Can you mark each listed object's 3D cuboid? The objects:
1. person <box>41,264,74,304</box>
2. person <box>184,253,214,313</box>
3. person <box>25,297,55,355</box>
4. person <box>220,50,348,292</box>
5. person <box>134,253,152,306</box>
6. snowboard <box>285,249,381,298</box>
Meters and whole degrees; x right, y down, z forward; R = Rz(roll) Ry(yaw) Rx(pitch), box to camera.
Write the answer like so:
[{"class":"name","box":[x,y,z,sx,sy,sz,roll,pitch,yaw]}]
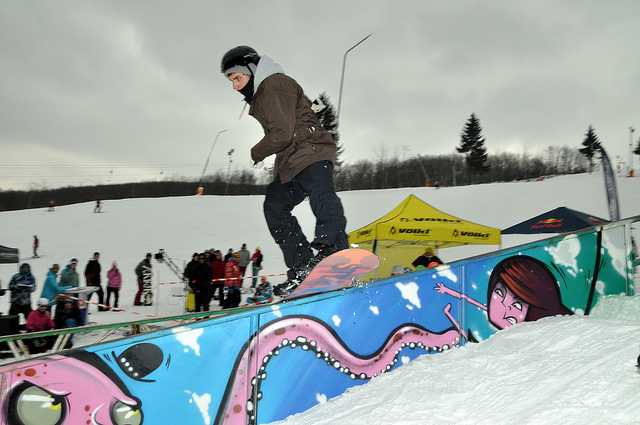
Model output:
[{"class":"person","box":[-5.132,1.416,9.565,0.544,0.722,1.566,-1,-5,-27]},{"class":"person","box":[-2.790,1.646,11.290,0.581,1.347,0.980,-2,-5,-19]},{"class":"person","box":[-4.683,1.980,8.203,0.550,1.040,0.471,-8,-8,33]},{"class":"person","box":[-0.357,-0.485,5.442,1.189,2.748,0.564,-4,-5,3]},{"class":"person","box":[-4.642,1.819,12.767,0.435,1.377,1.176,-2,-5,-21]},{"class":"snowboard","box":[0.153,0.676,5.362,0.914,0.508,0.611,-7,-6,41]}]
